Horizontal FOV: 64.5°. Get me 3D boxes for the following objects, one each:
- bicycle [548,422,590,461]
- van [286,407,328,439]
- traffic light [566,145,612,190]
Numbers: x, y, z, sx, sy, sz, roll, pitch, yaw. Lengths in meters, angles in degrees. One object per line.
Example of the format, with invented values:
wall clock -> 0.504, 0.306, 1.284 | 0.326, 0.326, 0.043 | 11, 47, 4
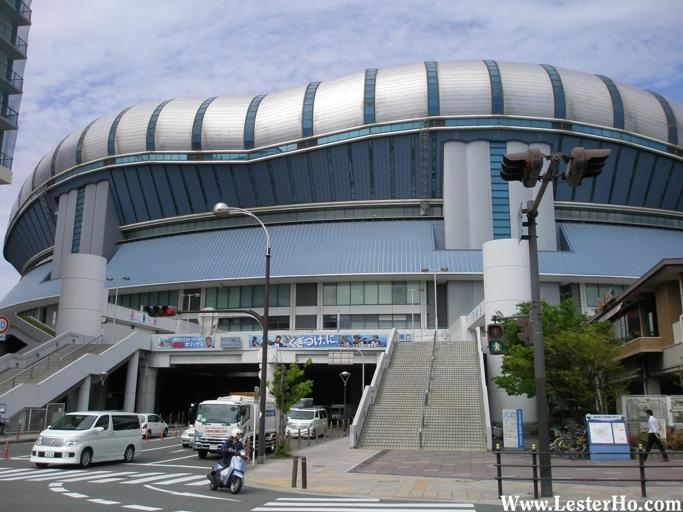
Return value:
bicycle -> 10.818, 8.735, 25.396 | 1.488, 1.276, 4.504 | -7, -17, 23
van -> -2.317, 11.272, 36.912 | 2.460, 1.912, 3.589 | -3, -23, 8
traffic light -> 6.227, -2.524, 13.711 | 0.648, 1.446, 0.880 | 9, -8, -38
